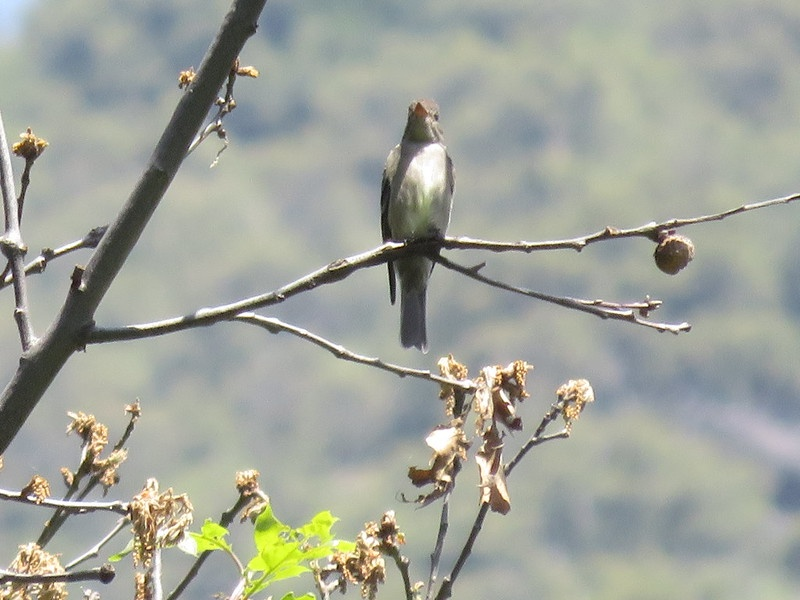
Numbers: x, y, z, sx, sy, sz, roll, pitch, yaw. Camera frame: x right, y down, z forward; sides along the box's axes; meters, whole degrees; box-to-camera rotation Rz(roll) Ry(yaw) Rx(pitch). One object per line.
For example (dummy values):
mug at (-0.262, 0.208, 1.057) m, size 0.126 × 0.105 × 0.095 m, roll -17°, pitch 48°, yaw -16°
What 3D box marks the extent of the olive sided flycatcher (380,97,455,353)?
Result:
olive sided flycatcher at (0.061, -0.349, 5.774) m, size 0.265 × 0.459 × 1.139 m, roll 0°, pitch -75°, yaw -1°
